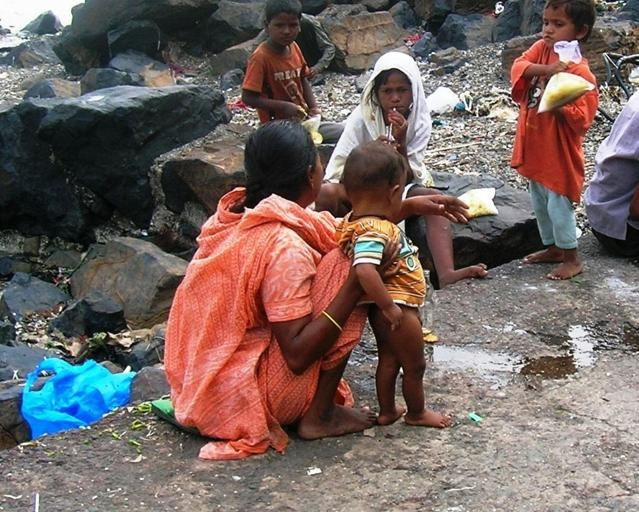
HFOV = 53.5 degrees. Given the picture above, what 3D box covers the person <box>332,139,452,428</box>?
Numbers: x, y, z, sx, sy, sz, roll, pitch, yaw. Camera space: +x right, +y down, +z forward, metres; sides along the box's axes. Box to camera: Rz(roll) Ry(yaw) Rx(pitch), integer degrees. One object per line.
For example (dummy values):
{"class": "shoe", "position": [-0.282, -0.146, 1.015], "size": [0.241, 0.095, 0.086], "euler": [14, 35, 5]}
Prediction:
{"class": "person", "position": [0.305, 0.142, 2.746], "size": [0.360, 1.263, 0.394], "euler": [-9, 19, 2]}
